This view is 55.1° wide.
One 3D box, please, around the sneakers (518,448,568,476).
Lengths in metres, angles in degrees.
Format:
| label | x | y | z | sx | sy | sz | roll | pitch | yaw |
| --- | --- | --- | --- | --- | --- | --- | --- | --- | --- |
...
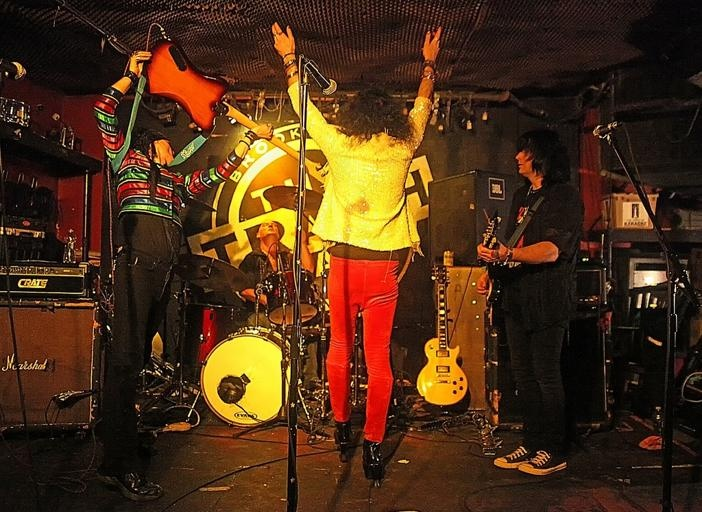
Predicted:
| label | x | y | z | sx | sy | sz | roll | pitch | yaw |
| --- | --- | --- | --- | --- | --- | --- | --- | --- | --- |
| sneakers | 1.559 | 1.719 | 5.566 | 0.430 | 0.177 | 0.160 | 4 | -12 | -15 |

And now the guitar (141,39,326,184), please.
| label | x | y | z | sx | sy | sz | roll | pitch | yaw |
| --- | --- | --- | --- | --- | --- | --- | --- | --- | --- |
| guitar | -1.158 | -1.496 | 6.775 | 1.713 | 0.517 | 0.174 | 35 | -1 | -38 |

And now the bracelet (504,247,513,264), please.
| label | x | y | z | sx | sy | sz | roll | pitch | yaw |
| --- | --- | --- | --- | --- | --- | --- | --- | --- | --- |
| bracelet | 1.249 | -0.005 | 5.373 | 0.078 | 0.106 | 0.041 | -3 | 15 | -3 |

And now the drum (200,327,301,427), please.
| label | x | y | z | sx | sy | sz | roll | pitch | yaw |
| --- | --- | --- | --- | --- | --- | --- | --- | --- | --- |
| drum | -0.889 | 1.113 | 6.076 | 0.984 | 1.067 | 0.635 | 6 | 2 | 5 |

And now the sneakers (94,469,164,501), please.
| label | x | y | z | sx | sy | sz | roll | pitch | yaw |
| --- | --- | --- | --- | --- | --- | --- | --- | --- | --- |
| sneakers | -1.712 | 1.723 | 5.230 | 0.535 | 0.221 | 0.203 | 15 | -9 | 8 |

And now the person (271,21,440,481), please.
| label | x | y | z | sx | sy | sz | roll | pitch | yaw |
| --- | --- | --- | --- | --- | --- | --- | --- | --- | --- |
| person | 0.139 | -0.001 | 5.301 | 0.972 | 3.513 | 0.635 | 0 | -7 | -1 |

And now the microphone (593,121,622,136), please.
| label | x | y | z | sx | sy | sz | roll | pitch | yaw |
| --- | --- | --- | --- | --- | --- | --- | --- | --- | --- |
| microphone | 1.949 | -0.991 | 5.237 | 0.096 | 0.104 | 0.261 | -10 | -2 | 2 |

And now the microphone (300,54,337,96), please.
| label | x | y | z | sx | sy | sz | roll | pitch | yaw |
| --- | --- | --- | --- | --- | --- | --- | --- | --- | --- |
| microphone | -0.237 | -1.336 | 4.905 | 0.160 | 0.214 | 0.500 | -3 | -8 | 26 |

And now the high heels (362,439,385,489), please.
| label | x | y | z | sx | sy | sz | roll | pitch | yaw |
| --- | --- | --- | --- | --- | --- | --- | --- | --- | --- |
| high heels | 0.168 | 1.616 | 5.273 | 0.121 | 0.175 | 0.390 | -2 | 32 | -5 |

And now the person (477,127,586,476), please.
| label | x | y | z | sx | sy | sz | roll | pitch | yaw |
| --- | --- | --- | --- | --- | --- | --- | --- | --- | --- |
| person | 1.536 | 0.353 | 5.634 | 0.766 | 2.872 | 0.620 | 0 | -7 | 3 |

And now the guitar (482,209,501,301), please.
| label | x | y | z | sx | sy | sz | roll | pitch | yaw |
| --- | --- | --- | --- | --- | --- | --- | --- | --- | --- |
| guitar | 1.165 | -0.010 | 5.693 | 0.130 | 0.755 | 0.292 | 2 | 0 | -10 |

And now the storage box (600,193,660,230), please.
| label | x | y | z | sx | sy | sz | roll | pitch | yaw |
| --- | --- | --- | --- | --- | --- | --- | --- | --- | --- |
| storage box | 3.076 | -0.498 | 7.527 | 0.573 | 0.452 | 0.485 | 1 | -3 | 13 |

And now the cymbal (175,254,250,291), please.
| label | x | y | z | sx | sy | sz | roll | pitch | yaw |
| --- | --- | --- | --- | --- | --- | --- | --- | --- | --- |
| cymbal | -1.294 | 0.150 | 6.248 | 0.426 | 0.106 | 0.439 | -27 | -44 | 28 |

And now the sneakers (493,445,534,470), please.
| label | x | y | z | sx | sy | sz | roll | pitch | yaw |
| --- | --- | --- | --- | --- | --- | --- | --- | --- | --- |
| sneakers | 1.353 | 1.695 | 5.624 | 0.363 | 0.148 | 0.137 | 6 | -11 | -18 |

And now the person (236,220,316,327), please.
| label | x | y | z | sx | sy | sz | roll | pitch | yaw |
| --- | --- | --- | --- | --- | --- | --- | --- | --- | --- |
| person | -0.594 | 0.162 | 6.882 | 0.876 | 0.987 | 1.092 | 7 | -17 | -28 |

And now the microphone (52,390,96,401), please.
| label | x | y | z | sx | sy | sz | roll | pitch | yaw |
| --- | --- | --- | --- | --- | --- | --- | --- | --- | --- |
| microphone | -2.463 | 1.234 | 5.981 | 0.368 | 0.087 | 0.310 | 1 | -7 | -10 |

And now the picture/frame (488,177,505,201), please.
| label | x | y | z | sx | sy | sz | roll | pitch | yaw |
| --- | --- | --- | --- | --- | --- | --- | --- | --- | --- |
| picture/frame | 1.508 | -0.712 | 7.076 | 0.230 | 0.259 | 0.018 | 4 | -10 | -26 |
